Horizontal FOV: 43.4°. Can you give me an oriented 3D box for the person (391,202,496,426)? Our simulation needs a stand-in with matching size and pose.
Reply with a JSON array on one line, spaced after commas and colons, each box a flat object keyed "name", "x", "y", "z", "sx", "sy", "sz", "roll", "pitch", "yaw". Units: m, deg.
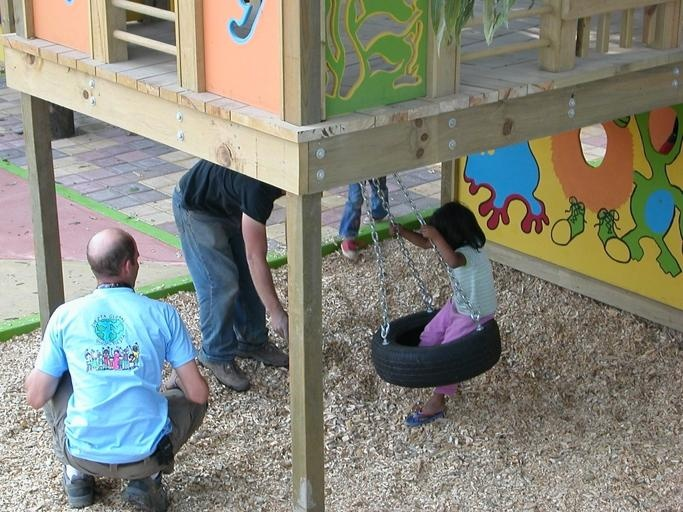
[{"name": "person", "x": 0.587, "y": 0.355, "z": 4.846, "sx": 0.526, "sy": 1.273, "sz": 0.609, "roll": -5, "pitch": 24, "yaw": -27}]

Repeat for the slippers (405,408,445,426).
[{"name": "slippers", "x": 0.470, "y": 0.912, "z": 4.846, "sx": 0.199, "sy": 0.067, "sz": 0.090, "roll": -13, "pitch": 50, "yaw": -3}]

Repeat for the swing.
[{"name": "swing", "x": 0.489, "y": 0.135, "z": 4.636, "sx": 0.680, "sy": 1.427, "sz": 1.221, "roll": -2, "pitch": 28, "yaw": 2}]

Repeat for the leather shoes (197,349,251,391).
[{"name": "leather shoes", "x": -0.710, "y": 0.676, "z": 5.180, "sx": 0.347, "sy": 0.163, "sz": 0.128, "roll": 19, "pitch": 7, "yaw": 18}]

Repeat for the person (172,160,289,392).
[{"name": "person", "x": -0.672, "y": 0.035, "z": 5.009, "sx": 0.656, "sy": 1.459, "sz": 0.666, "roll": -11, "pitch": 26, "yaw": -31}]
